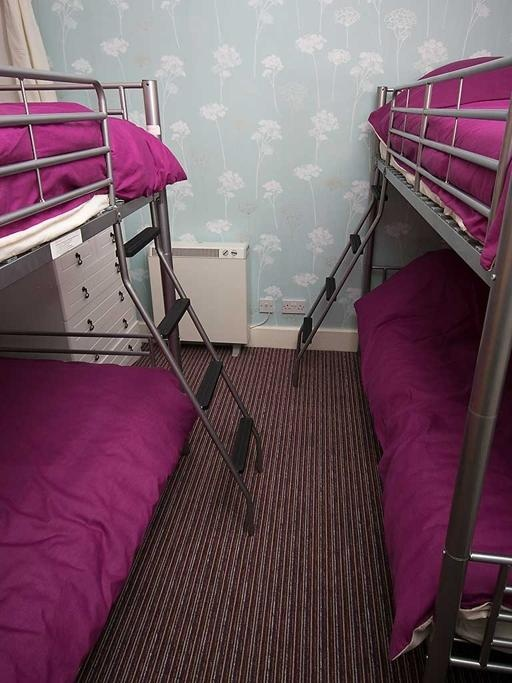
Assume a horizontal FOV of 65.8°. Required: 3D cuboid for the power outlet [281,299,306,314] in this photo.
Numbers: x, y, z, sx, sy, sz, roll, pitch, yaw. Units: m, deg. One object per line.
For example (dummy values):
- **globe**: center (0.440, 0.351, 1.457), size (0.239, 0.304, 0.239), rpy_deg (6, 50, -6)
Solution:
- **power outlet**: center (0.277, -0.302, 2.936), size (0.151, 0.135, 0.097), rpy_deg (1, 10, 3)
